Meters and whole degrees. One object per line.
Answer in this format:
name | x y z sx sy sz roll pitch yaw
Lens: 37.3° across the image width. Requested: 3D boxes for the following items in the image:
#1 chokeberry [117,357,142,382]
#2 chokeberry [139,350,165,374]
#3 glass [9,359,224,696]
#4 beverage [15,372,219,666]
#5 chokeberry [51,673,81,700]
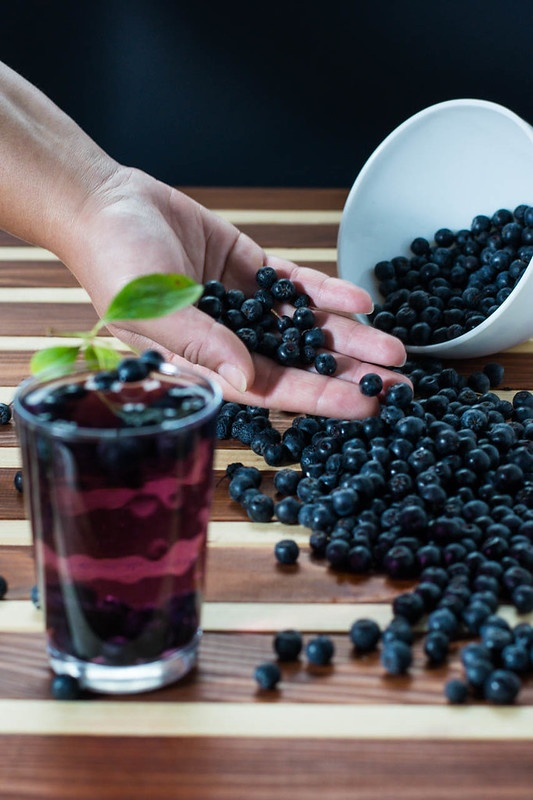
chokeberry | -0.118 -0.026 0.682 0.020 0.019 0.014 0 -8 -4
chokeberry | -0.103 -0.037 0.733 0.022 0.009 0.024 3 34 -16
glass | -0.127 0.130 0.782 0.212 0.271 0.206 -5 -6 32
beverage | -0.128 0.115 0.719 0.172 0.284 0.109 -5 22 -16
chokeberry | -0.196 0.279 0.772 0.023 0.021 0.025 -24 24 10
